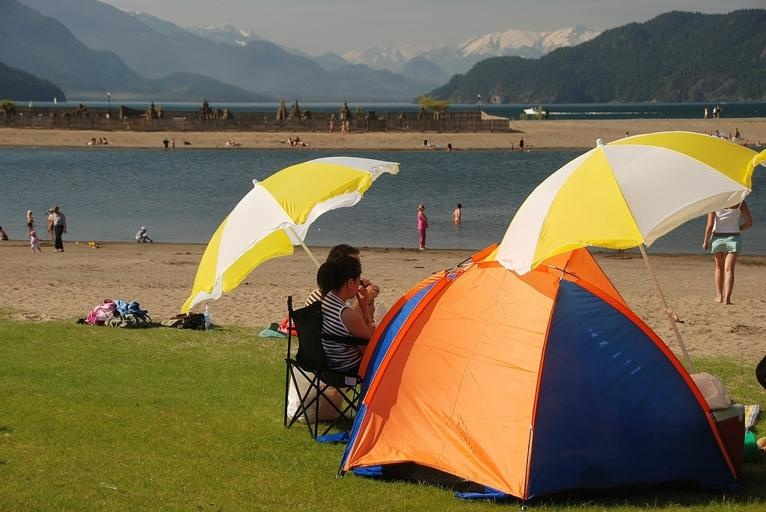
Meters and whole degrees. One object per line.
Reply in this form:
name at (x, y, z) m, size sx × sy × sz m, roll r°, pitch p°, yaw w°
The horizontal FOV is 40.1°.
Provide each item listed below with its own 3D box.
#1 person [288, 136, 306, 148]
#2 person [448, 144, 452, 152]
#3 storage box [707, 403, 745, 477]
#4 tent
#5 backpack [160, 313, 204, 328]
person at (-6.018, -7.871, 73.956) m, size 0.914 × 0.586 × 1.298 m, roll 8°, pitch -15°, yaw 5°
person at (4.594, -7.236, 71.368) m, size 0.230 × 0.343 × 0.772 m, roll -1°, pitch -22°, yaw 4°
storage box at (4.588, 2.380, 13.976) m, size 0.644 × 0.449 × 0.682 m, roll 3°, pitch 25°, yaw 33°
tent at (1.992, 1.668, 13.871) m, size 3.915 × 2.059 × 3.182 m, roll 2°, pitch 9°, yaw 28°
backpack at (-3.504, 1.162, 18.524) m, size 0.494 × 0.171 × 0.357 m, roll 2°, pitch 1°, yaw 23°
